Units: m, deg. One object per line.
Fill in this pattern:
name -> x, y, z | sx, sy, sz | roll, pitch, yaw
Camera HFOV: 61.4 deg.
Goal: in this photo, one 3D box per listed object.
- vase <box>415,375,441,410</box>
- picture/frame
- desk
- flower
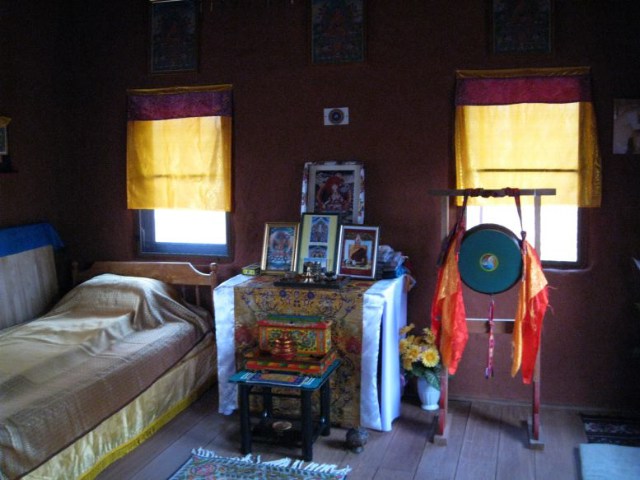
vase -> 0.820, 1.128, 3.952 | 0.210, 0.254, 0.212 | 12, -22, -37
picture/frame -> 0.041, -0.144, 4.019 | 0.862, 1.055, 0.111 | -1, -14, 15
desk -> -0.058, 0.765, 3.770 | 1.228, 0.967, 0.448 | 2, 13, 10
flower -> 0.746, 0.856, 3.902 | 0.339, 0.411, 0.352 | 6, 11, 13
